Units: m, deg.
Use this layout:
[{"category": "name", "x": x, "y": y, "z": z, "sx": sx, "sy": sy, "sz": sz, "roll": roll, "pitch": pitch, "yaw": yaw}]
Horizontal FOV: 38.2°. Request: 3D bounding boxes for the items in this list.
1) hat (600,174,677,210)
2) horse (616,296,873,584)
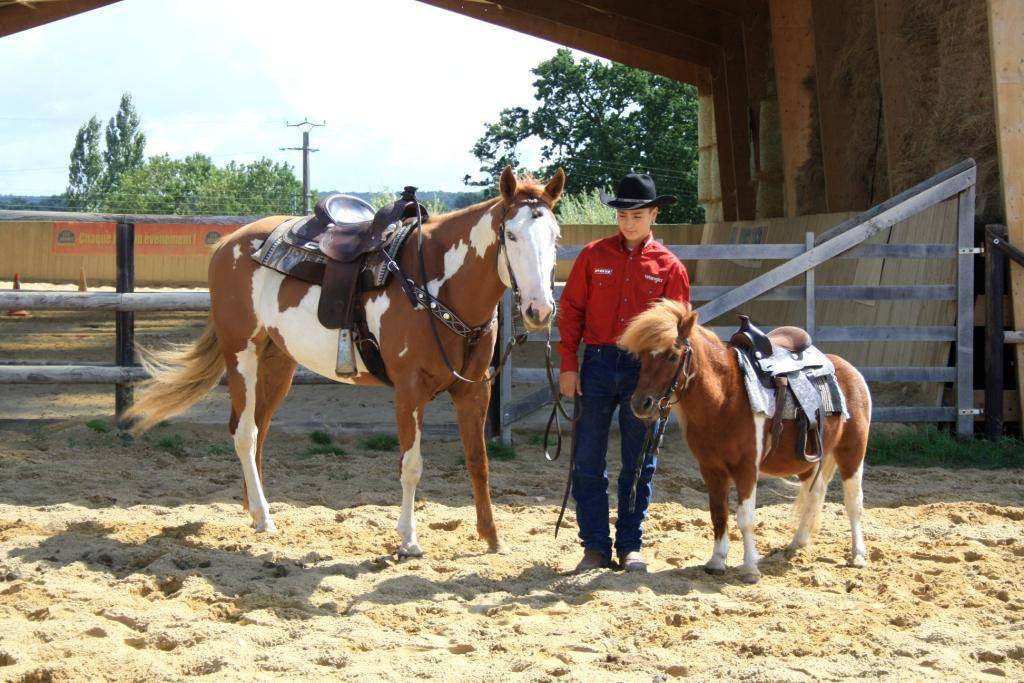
[{"category": "hat", "x": 1.112, "y": -1.377, "z": 13.518, "sx": 0.564, "sy": 0.355, "sz": 0.599, "roll": 0, "pitch": 3, "yaw": -8}, {"category": "horse", "x": 2.175, "y": 0.915, "z": 13.616, "sx": 3.158, "sy": 2.462, "sz": 1.022, "roll": 5, "pitch": -4, "yaw": -41}]
